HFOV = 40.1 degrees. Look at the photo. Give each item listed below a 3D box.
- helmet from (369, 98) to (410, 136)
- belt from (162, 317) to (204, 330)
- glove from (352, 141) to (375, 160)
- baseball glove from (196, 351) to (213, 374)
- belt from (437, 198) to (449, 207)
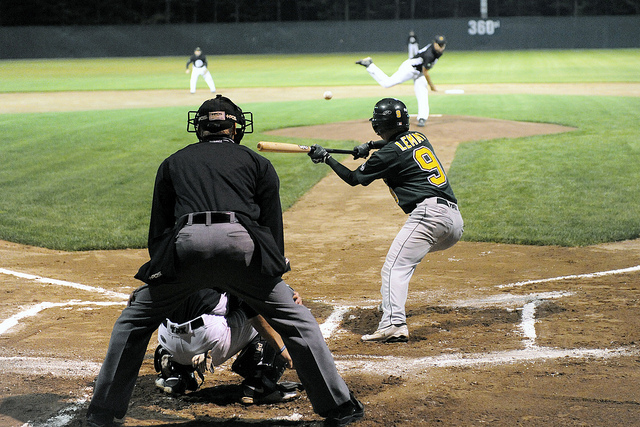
[{"bbox_3d":[0.909,-1.298,11.584,0.638,0.412,0.454,11,25,39],"label":"helmet"},{"bbox_3d":[-1.581,1.246,10.068,0.484,0.126,0.074,1,11,13],"label":"belt"},{"bbox_3d":[0.562,-0.851,11.949,0.215,0.112,0.311,-24,-3,-25],"label":"glove"},{"bbox_3d":[-1.350,1.708,10.170,0.267,0.210,0.067,-15,18,-32],"label":"baseball glove"},{"bbox_3d":[1.553,-0.149,11.250,0.135,0.070,0.028,-4,11,-18],"label":"belt"}]
